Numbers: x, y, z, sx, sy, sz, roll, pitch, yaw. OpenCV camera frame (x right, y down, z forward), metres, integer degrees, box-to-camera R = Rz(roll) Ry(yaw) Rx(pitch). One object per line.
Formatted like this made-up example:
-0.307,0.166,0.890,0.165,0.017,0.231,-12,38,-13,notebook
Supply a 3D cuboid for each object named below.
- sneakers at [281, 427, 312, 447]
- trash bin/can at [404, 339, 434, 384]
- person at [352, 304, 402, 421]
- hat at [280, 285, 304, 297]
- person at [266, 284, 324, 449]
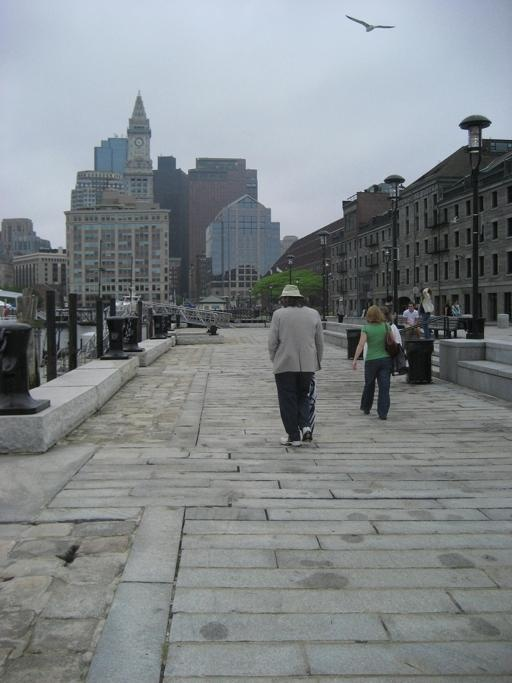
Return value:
0.419,0.937,6.563,0.364,0.267,0.136,0,-2,-2,sneakers
2.907,0.365,11.994,0.454,0.809,0.517,1,2,14,trash bin/can
1.564,0.243,8.629,0.578,1.398,1.183,1,2,9,person
0.358,-0.512,6.770,0.143,0.085,0.155,1,-12,0,hat
0.393,0.233,6.631,0.507,1.549,0.329,1,2,7,person
